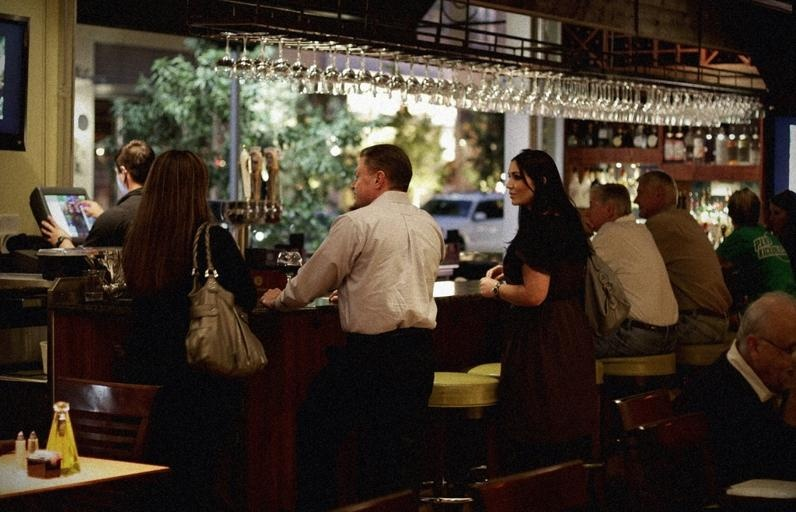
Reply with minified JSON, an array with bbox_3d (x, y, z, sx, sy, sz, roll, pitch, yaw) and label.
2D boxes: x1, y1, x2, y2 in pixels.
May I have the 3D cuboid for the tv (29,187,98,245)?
[{"bbox_3d":[-2.499,-0.296,5.901,0.353,0.206,0.346,17,31,-47],"label":"tv"}]

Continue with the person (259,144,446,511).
[{"bbox_3d":[-0.185,0.405,4.519,0.865,2.082,0.338,1,4,4],"label":"person"}]

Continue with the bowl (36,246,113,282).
[{"bbox_3d":[-2.180,0.050,5.304,0.443,0.260,0.864,-3,7,-32],"label":"bowl"}]

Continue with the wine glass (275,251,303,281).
[{"bbox_3d":[-0.759,0.072,5.505,0.175,0.300,0.196,1,-3,9],"label":"wine glass"}]

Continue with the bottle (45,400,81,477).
[{"bbox_3d":[-1.585,0.849,3.721,0.136,0.299,0.257,-2,6,-35],"label":"bottle"}]

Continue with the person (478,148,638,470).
[{"bbox_3d":[0.938,0.366,4.855,0.652,2.011,0.359,1,4,7],"label":"person"}]

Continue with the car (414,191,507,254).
[{"bbox_3d":[1.376,-0.736,16.758,1.738,0.959,1.010,1,-1,-7],"label":"car"}]

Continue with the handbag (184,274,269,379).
[{"bbox_3d":[-0.988,0.400,4.442,0.211,0.476,0.446,-19,-27,25],"label":"handbag"}]
